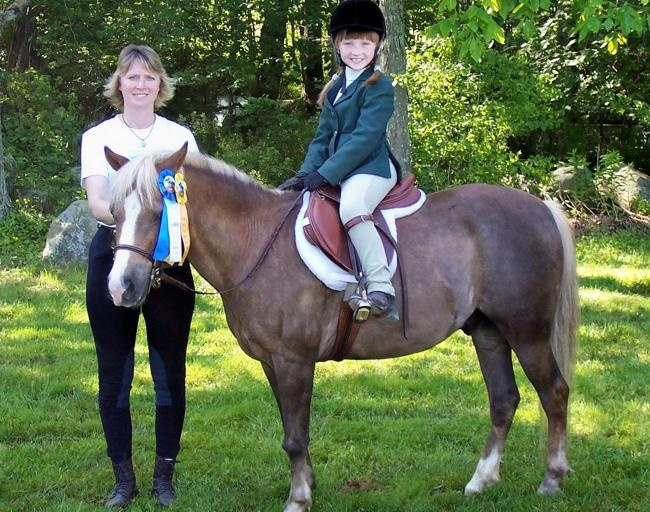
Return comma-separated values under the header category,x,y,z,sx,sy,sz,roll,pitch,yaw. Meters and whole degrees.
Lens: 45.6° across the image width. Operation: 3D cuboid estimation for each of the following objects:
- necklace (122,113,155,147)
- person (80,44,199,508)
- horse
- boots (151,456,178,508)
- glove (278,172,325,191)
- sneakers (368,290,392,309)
category,x,y,z,sx,sy,sz,roll,pitch,yaw
necklace,-1.458,-0.970,6.020,0.248,0.209,0.144,2,4,-17
person,-1.476,0.160,6.046,0.908,3.593,0.518,2,4,-19
horse,0.101,0.716,6.362,2.939,2.209,0.933,-2,4,-10
boots,-1.293,1.789,6.182,0.151,0.297,0.403,1,10,-22
glove,-0.178,-0.585,6.053,0.413,0.154,0.229,8,6,42
sneakers,0.431,0.326,5.829,0.112,0.083,0.155,7,-4,37
